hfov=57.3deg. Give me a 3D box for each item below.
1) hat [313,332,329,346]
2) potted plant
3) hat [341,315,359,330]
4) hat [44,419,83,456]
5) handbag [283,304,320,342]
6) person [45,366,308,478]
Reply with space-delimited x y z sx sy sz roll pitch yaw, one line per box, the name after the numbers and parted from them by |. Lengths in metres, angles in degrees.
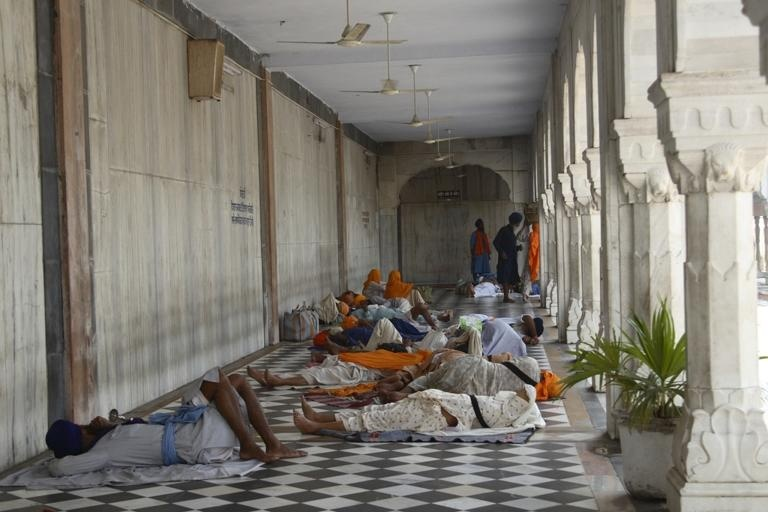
-0.996 1.319 11.024 0.218 0.132 0.236 -1 1 9 | hat
2.065 1.121 6.109 1.600 1.655 1.426 0 -4 -6 | potted plant
-0.601 1.154 12.252 0.262 0.265 0.186 18 -25 -7 | hat
-2.869 1.635 6.342 0.298 0.350 0.252 -4 7 -28 | hat
-1.462 1.259 12.932 0.443 0.671 0.692 0 -3 4 | handbag
-1.961 1.530 6.698 2.042 0.823 0.940 -3 -12 -2 | person
